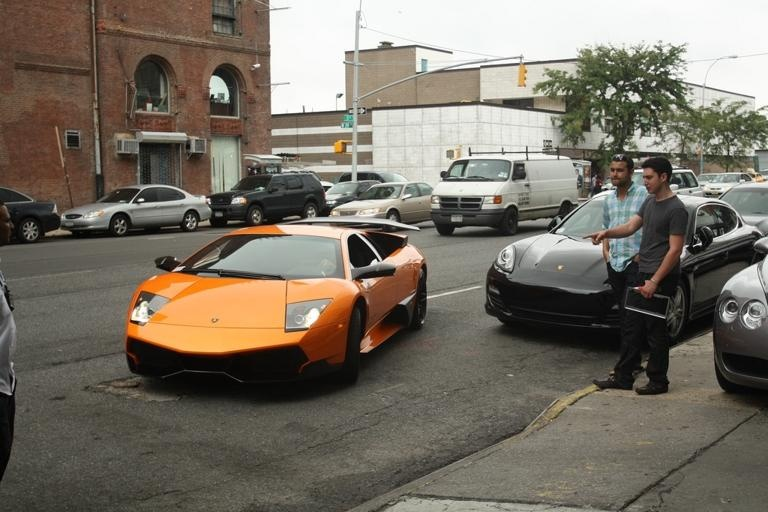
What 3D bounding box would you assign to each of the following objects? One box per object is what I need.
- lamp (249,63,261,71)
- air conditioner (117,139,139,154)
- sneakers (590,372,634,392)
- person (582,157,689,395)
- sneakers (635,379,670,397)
[{"bbox_3d":[-7.429,-11.010,36.355,0.644,0.463,0.181,-8,11,-44],"label":"lamp"},{"bbox_3d":[-12.640,-5.382,30.918,0.649,0.868,1.237,6,7,44],"label":"air conditioner"},{"bbox_3d":[2.454,1.355,6.813,0.458,0.199,0.170,4,6,14],"label":"sneakers"},{"bbox_3d":[2.775,0.200,6.666,0.705,2.469,0.758,-7,10,-40],"label":"person"},{"bbox_3d":[2.780,1.379,6.495,0.357,0.151,0.137,0,3,1],"label":"sneakers"}]
